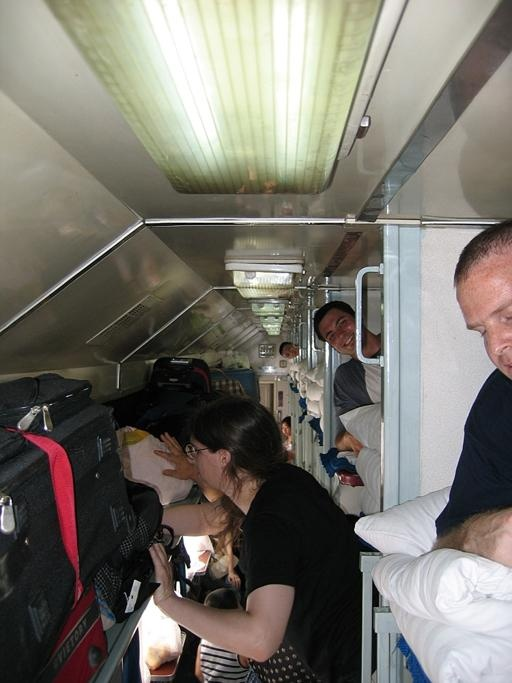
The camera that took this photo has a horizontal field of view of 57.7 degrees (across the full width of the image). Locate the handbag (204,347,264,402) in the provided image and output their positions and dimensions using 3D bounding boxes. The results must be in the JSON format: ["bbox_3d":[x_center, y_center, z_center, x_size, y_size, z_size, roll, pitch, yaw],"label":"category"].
[{"bbox_3d":[-0.413,0.492,6.975,0.961,0.403,0.921,3,-5,5],"label":"handbag"}]
